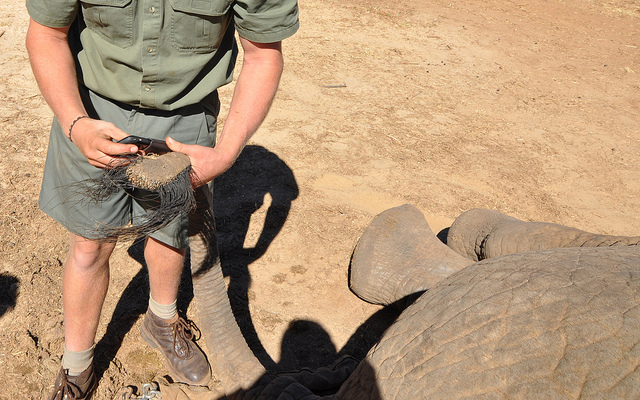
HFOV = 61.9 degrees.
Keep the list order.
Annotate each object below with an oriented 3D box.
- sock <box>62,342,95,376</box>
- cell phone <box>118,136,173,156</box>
[{"bbox_3d":[-1.618,1.075,3.543,0.191,0.178,0.206,4,56,-4],"label":"sock"},{"bbox_3d":[-0.963,-0.297,2.961,0.274,0.120,0.060,-1,45,-18],"label":"cell phone"}]
